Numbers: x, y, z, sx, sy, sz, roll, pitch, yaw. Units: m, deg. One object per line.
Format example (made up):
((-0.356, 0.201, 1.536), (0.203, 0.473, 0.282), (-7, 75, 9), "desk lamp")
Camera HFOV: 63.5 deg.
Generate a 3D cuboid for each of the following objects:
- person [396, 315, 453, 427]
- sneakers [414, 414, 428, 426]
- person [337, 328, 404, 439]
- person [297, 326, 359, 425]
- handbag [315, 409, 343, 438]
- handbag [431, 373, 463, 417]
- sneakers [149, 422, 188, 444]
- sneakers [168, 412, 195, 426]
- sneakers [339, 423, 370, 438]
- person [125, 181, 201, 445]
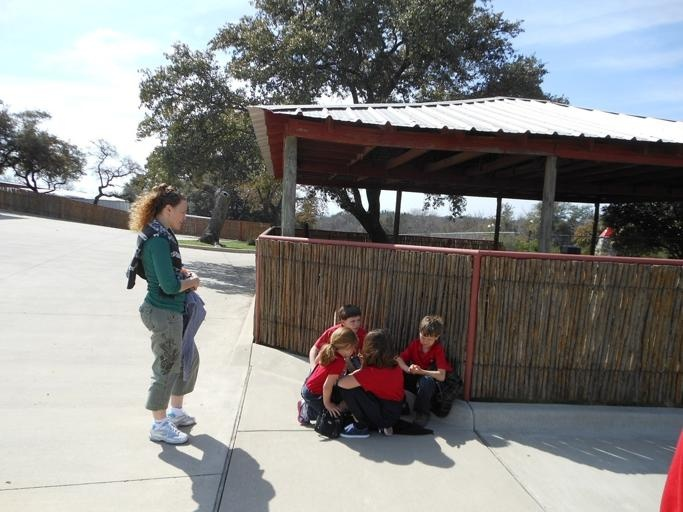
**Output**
((0.793, 1.138, 5.759), (0.607, 1.052, 0.736), (13, 8, 25), "person")
((0.809, 1.645, 5.627), (0.106, 0.124, 0.112), (0, 2, 24), "sneakers")
((0.252, 1.256, 5.540), (0.653, 1.063, 0.647), (3, 3, -22), "person")
((-0.109, 1.240, 5.567), (0.441, 1.148, 0.611), (20, 25, 21), "person")
((-0.143, 1.581, 5.338), (0.243, 0.286, 0.187), (16, 1, -15), "handbag")
((1.062, 1.389, 5.674), (0.257, 0.437, 0.162), (33, -17, -19), "handbag")
((-1.556, 1.594, 5.065), (0.371, 0.206, 0.156), (4, -1, -4), "sneakers")
((-1.493, 1.526, 5.218), (0.266, 0.135, 0.098), (5, 0, -24), "sneakers")
((0.130, 1.679, 5.345), (0.261, 0.125, 0.111), (5, -8, -6), "sneakers")
((-1.596, 0.505, 5.026), (0.694, 2.320, 0.431), (3, 4, -13), "person")
